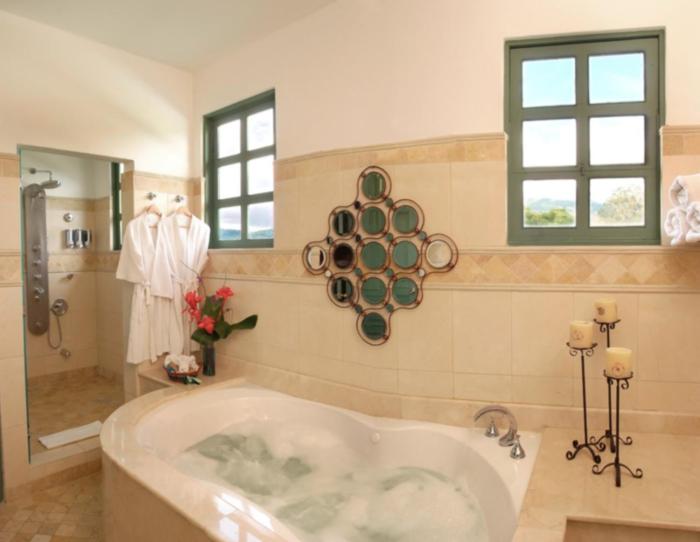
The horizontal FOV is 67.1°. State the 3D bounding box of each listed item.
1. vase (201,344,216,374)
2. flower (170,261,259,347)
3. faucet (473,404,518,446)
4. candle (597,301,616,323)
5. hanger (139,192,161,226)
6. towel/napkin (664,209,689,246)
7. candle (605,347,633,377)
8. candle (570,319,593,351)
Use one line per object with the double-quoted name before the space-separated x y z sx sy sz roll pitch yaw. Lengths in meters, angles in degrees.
"vase" -1.094 0.673 4.078 0.099 0.260 0.125 -6 14 -16
"flower" -1.006 0.224 4.232 0.417 0.616 0.681 8 15 10
"faucet" 0.857 0.858 3.061 0.238 0.224 0.253 2 14 16
"candle" 1.389 0.222 2.897 0.107 0.129 0.111 0 0 -14
"hanger" -1.576 -0.511 4.177 0.185 0.185 0.057 -14 20 -41
"towel/napkin" 1.728 -0.234 2.794 0.052 0.168 0.114 -3 15 17
"candle" 1.372 0.467 2.731 0.131 0.158 0.139 0 0 -2
"candle" 1.238 0.341 2.813 0.125 0.153 0.129 1 -1 -1
